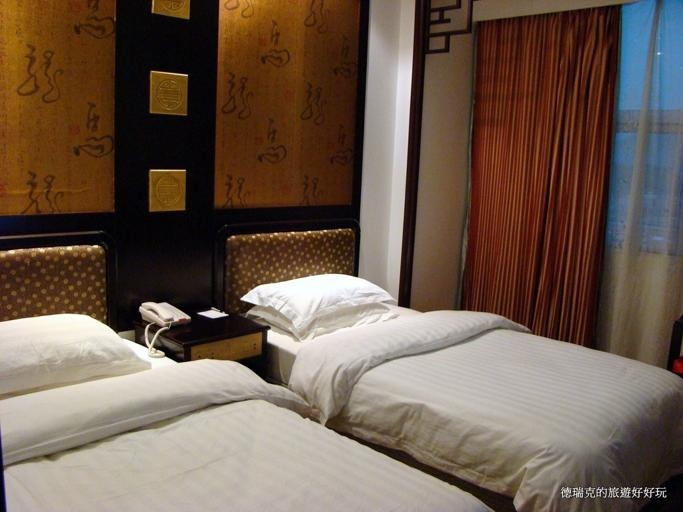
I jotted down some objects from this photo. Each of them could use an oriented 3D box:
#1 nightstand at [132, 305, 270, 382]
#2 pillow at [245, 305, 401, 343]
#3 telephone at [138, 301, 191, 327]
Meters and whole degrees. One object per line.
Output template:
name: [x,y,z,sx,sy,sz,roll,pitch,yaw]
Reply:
nightstand: [-0.823,0.482,3.165,0.516,0.542,0.493,-10,26,-44]
pillow: [-0.027,0.449,3.494,0.647,0.114,0.414,1,8,-40]
telephone: [-1.114,0.355,3.134,0.184,0.080,0.194,17,12,15]
